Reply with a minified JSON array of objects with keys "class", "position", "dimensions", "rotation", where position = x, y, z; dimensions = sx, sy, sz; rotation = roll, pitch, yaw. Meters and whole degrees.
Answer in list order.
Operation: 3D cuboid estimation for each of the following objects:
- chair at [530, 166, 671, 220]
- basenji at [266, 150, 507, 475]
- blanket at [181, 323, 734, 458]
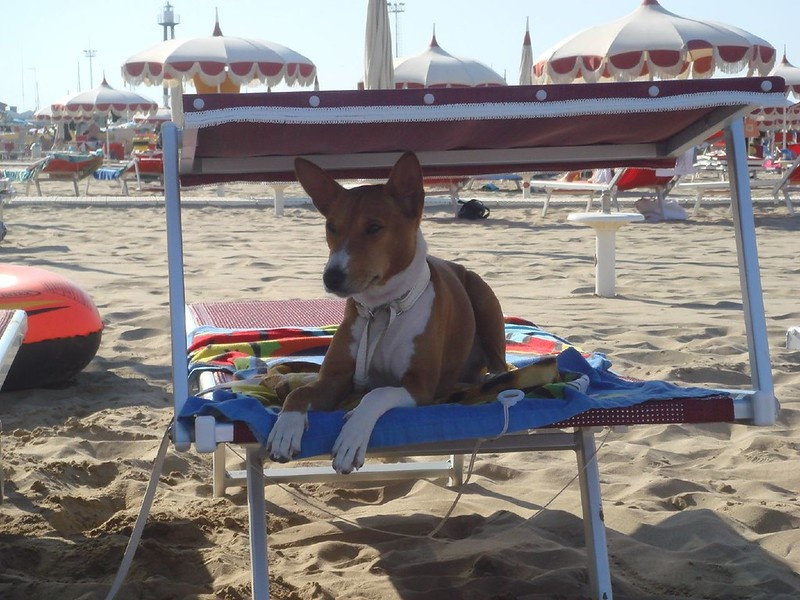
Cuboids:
[{"class":"chair","position":[2.602,-1.578,13.045],"dimensions":[1.182,0.633,0.597],"rotation":[12,9,29]},{"class":"basenji","position":[-0.002,-0.014,3.908],"dimensions":[0.798,1.050,1.661],"rotation":[0,3,15]},{"class":"blanket","position":[0.091,0.338,4.176],"dimensions":[1.967,0.291,1.720],"rotation":[-1,5,-10]}]
